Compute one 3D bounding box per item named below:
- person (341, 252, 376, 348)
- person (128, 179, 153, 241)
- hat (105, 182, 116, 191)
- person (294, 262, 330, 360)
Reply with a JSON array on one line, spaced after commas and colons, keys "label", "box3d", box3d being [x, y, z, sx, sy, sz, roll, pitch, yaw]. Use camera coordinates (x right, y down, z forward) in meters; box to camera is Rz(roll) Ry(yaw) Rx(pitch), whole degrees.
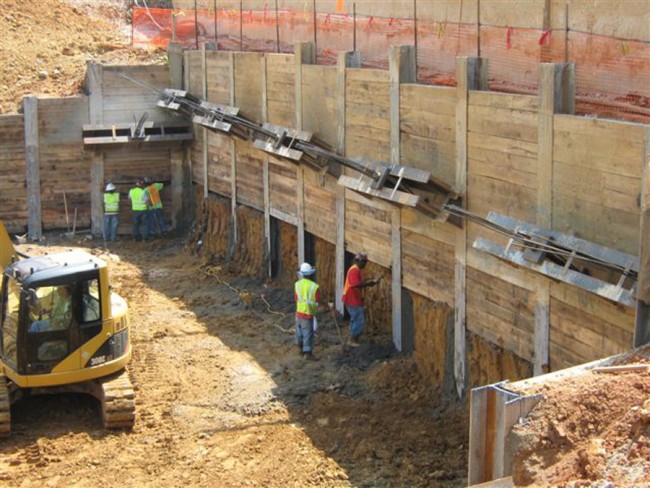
[{"label": "person", "box3d": [0.713, 1.072, 15.493, 0.549, 1.845, 0.706, 5, 16, 20]}, {"label": "person", "box3d": [-6.026, -1.088, 24.382, 0.603, 1.836, 0.579, 0, 15, 2]}, {"label": "hat", "box3d": [-6.884, -1.808, 23.822, 0.279, 0.250, 0.370, -8, 17, -23]}, {"label": "person", "box3d": [-0.382, 1.265, 15.680, 0.516, 1.866, 1.389, -1, 15, -3]}]
